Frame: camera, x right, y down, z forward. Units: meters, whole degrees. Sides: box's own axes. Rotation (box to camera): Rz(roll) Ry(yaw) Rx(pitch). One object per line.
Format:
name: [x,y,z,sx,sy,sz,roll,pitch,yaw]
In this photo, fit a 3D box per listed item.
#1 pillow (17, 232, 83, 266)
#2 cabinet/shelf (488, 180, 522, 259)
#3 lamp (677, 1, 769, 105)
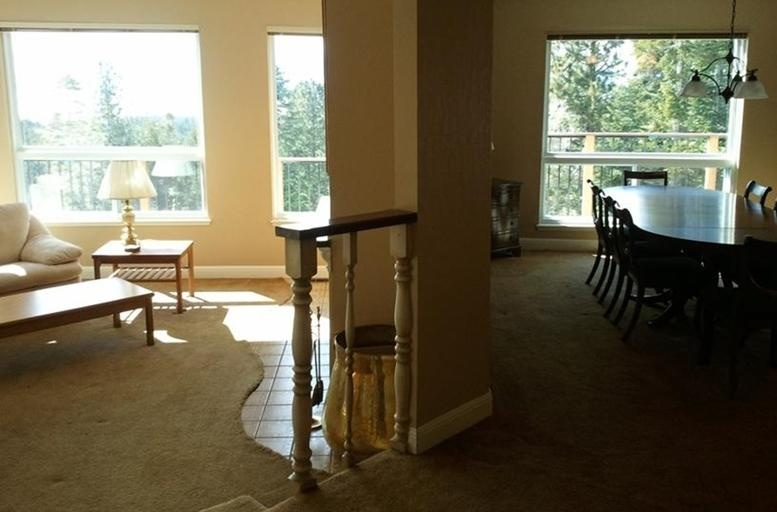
pillow: [-3.690,-0.065,6.768,0.413,0.131,0.432,-10,24,-36]
cabinet/shelf: [1.462,-0.460,7.806,0.566,0.989,0.200,-13,16,-42]
lamp: [3.830,-2.384,6.954,0.713,1.287,2.366,4,13,28]
